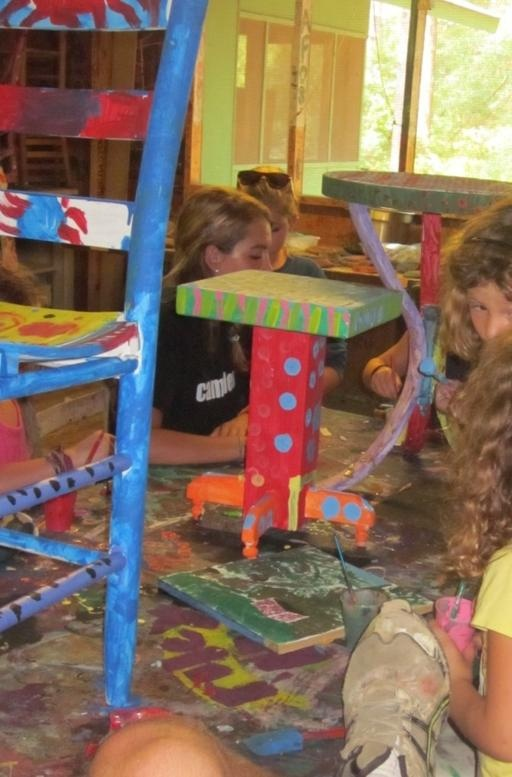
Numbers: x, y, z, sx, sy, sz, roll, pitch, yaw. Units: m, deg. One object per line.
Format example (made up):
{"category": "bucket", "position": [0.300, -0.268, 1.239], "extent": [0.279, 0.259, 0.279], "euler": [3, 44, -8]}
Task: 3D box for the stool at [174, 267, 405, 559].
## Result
{"category": "stool", "position": [0.041, 0.051, 1.229], "extent": [0.401, 0.488, 0.389], "euler": [14, 33, 22]}
